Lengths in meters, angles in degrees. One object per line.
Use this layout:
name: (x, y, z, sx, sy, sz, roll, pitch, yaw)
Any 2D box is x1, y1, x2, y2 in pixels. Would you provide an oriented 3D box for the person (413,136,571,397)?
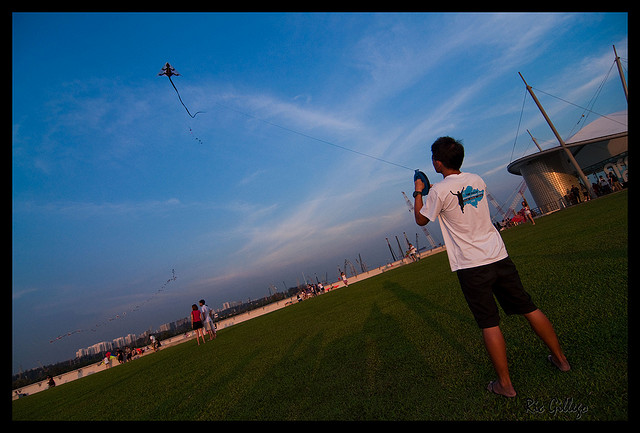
person: (2.007, 0.730, 4.581, 0.972, 3.054, 0.541, -24, -9, 22)

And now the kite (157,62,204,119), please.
kite: (-2.322, -2.030, 5.943, 0.478, 1.030, 0.108, -13, -19, -46)
